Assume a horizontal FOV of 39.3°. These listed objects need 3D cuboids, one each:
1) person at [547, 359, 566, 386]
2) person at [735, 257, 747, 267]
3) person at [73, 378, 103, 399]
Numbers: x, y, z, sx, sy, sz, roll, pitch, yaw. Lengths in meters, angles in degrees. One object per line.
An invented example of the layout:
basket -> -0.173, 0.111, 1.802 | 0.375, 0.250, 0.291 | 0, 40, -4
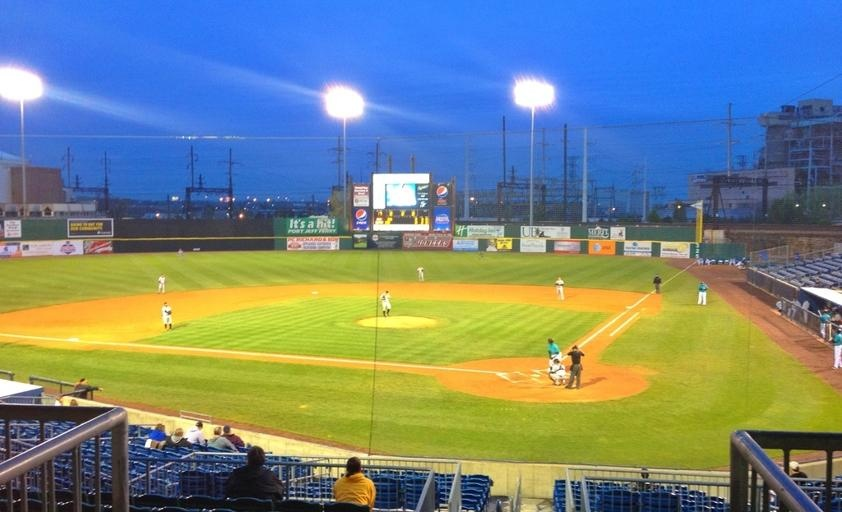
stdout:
person -> 7.390, 6.223, 63.744 | 0.849, 0.829, 1.585 | 0, 12, 1
person -> 24.838, 0.456, 91.358 | 0.802, 0.268, 0.573 | -27, 14, -34
person -> -17.603, 6.970, 62.333 | 0.632, 1.279, 0.772 | 30, 25, 30
